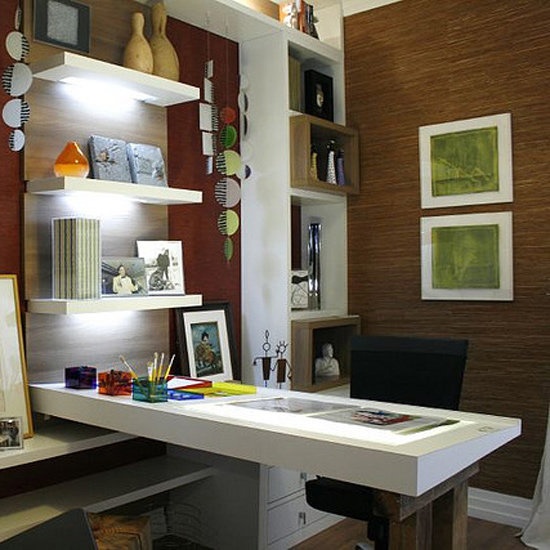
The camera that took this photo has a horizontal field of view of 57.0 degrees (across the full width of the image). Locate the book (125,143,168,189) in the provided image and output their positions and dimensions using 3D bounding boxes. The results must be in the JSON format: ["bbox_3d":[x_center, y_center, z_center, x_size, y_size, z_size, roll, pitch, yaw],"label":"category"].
[{"bbox_3d":[-0.606,-0.528,2.385,0.063,0.200,0.229,-10,-13,25],"label":"book"}]

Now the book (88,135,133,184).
[{"bbox_3d":[-0.730,-0.518,2.261,0.181,0.143,0.141,-3,2,-19],"label":"book"}]

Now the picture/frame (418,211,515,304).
[{"bbox_3d":[1.157,-0.106,2.986,0.608,0.567,0.039,0,-2,36],"label":"picture/frame"}]

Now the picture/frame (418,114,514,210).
[{"bbox_3d":[1.157,-0.671,2.994,0.666,0.622,0.037,1,2,37],"label":"picture/frame"}]

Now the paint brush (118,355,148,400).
[{"bbox_3d":[-0.573,0.410,2.037,0.048,0.198,0.029,-19,26,10],"label":"paint brush"}]
